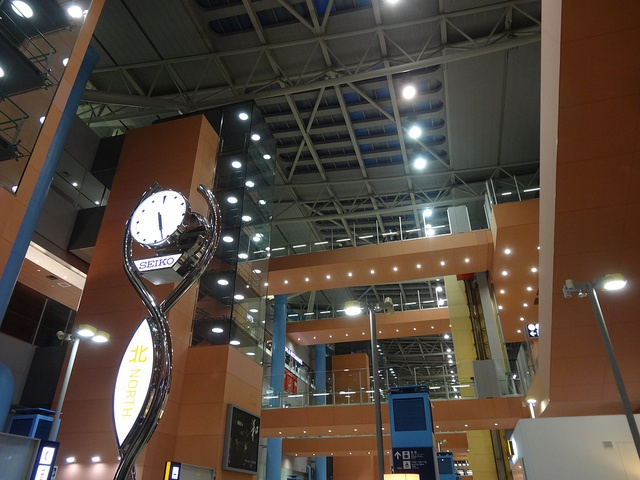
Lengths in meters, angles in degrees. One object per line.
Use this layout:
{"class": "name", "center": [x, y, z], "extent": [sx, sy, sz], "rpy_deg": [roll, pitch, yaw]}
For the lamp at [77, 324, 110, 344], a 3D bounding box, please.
{"class": "lamp", "center": [-6.548, 2.633, 14.233], "extent": [0.593, 0.428, 0.934], "rpy_deg": [-11, -33, 17]}
